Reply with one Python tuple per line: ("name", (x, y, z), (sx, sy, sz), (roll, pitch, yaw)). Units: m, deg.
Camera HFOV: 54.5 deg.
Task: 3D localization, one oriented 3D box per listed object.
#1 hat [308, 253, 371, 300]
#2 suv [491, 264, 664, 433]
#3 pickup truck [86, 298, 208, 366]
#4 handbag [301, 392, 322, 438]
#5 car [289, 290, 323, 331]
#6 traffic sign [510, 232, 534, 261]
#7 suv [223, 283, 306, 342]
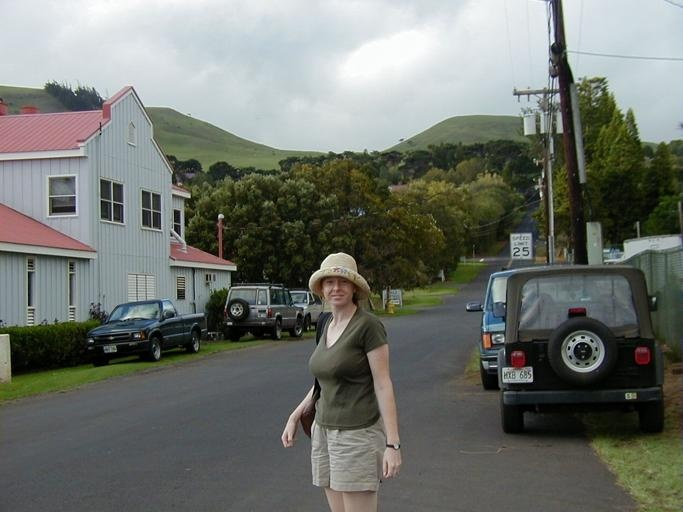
("hat", (-0.005, 0.129, 5.626), (0.347, 0.225, 0.413), (-2, -33, 9))
("suv", (3.343, 1.175, 9.304), (1.408, 1.788, 3.023), (-1, 2, 7))
("pickup truck", (-6.559, 2.523, 22.653), (2.101, 1.961, 4.580), (-4, -5, 13))
("handbag", (-0.292, 1.340, 5.589), (0.093, 0.317, 0.209), (8, 6, 15))
("car", (-1.748, 2.657, 33.113), (1.650, 2.018, 3.547), (-2, -5, 14))
("traffic sign", (8.428, -0.510, 31.049), (0.859, 1.234, 1.441), (-4, -4, 22))
("suv", (-3.332, 2.319, 28.476), (1.699, 1.791, 3.314), (-1, 0, 18))
